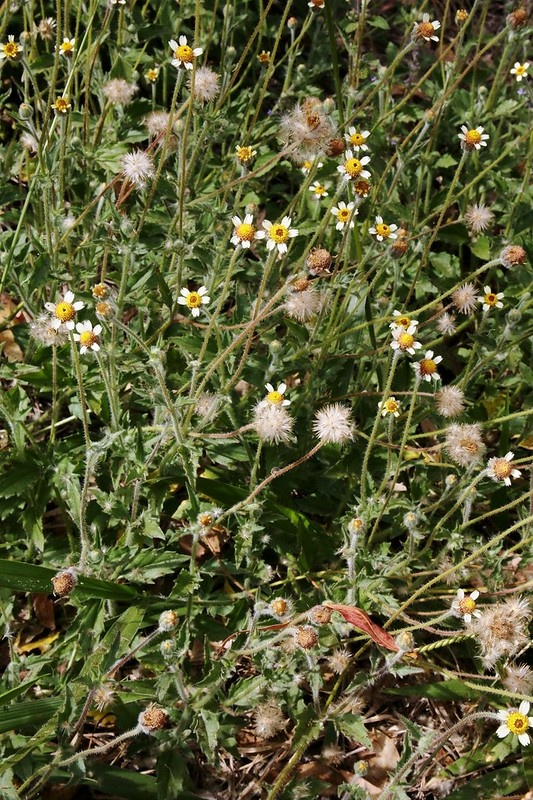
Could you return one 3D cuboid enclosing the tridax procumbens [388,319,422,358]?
[{"bbox_3d":[0.468,-0.208,2.608,0.133,0.046,0.130,-1,65,-2],"label":"tridax procumbens"}]

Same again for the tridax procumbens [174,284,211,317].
[{"bbox_3d":[-0.237,-0.352,2.730,0.141,0.039,0.141,2,73,27],"label":"tridax procumbens"}]

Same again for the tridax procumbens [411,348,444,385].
[{"bbox_3d":[0.560,-0.113,2.659,0.140,0.052,0.141,-1,92,30],"label":"tridax procumbens"}]
